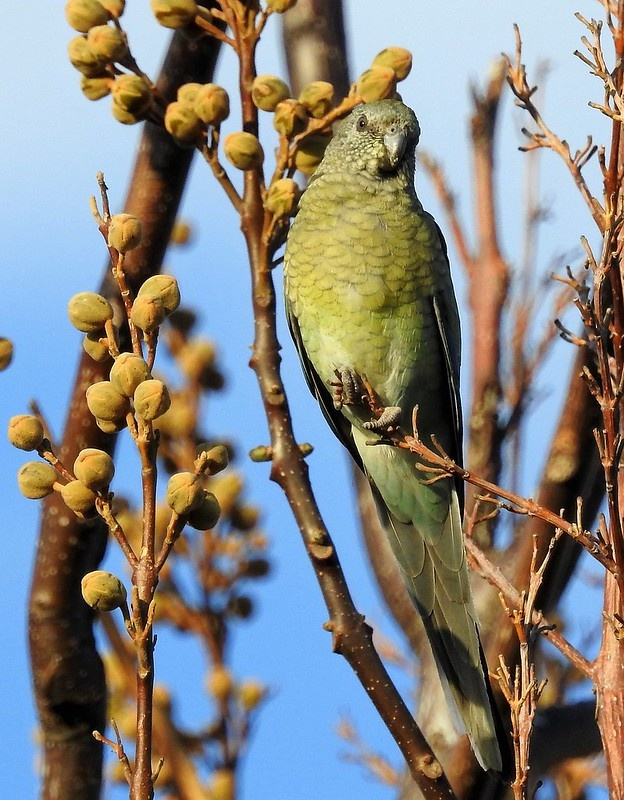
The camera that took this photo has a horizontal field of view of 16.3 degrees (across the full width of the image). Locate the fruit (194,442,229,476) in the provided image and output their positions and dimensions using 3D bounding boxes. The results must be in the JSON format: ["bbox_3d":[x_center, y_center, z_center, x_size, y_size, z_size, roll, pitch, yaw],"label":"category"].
[{"bbox_3d":[-0.226,0.128,4.767,0.065,0.069,0.035,-44,-34,25],"label":"fruit"}]

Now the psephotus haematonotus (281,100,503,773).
[{"bbox_3d":[0.222,-0.134,6.199,0.403,2.200,0.833,-4,3,1],"label":"psephotus haematonotus"}]

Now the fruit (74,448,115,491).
[{"bbox_3d":[-0.464,0.143,4.608,0.073,0.089,0.113,-5,-67,-17],"label":"fruit"}]

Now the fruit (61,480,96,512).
[{"bbox_3d":[-0.503,0.195,4.717,0.068,0.058,0.056,23,-43,-10],"label":"fruit"}]

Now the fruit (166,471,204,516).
[{"bbox_3d":[-0.273,0.187,4.659,0.080,0.114,0.076,-6,-24,-4],"label":"fruit"}]
